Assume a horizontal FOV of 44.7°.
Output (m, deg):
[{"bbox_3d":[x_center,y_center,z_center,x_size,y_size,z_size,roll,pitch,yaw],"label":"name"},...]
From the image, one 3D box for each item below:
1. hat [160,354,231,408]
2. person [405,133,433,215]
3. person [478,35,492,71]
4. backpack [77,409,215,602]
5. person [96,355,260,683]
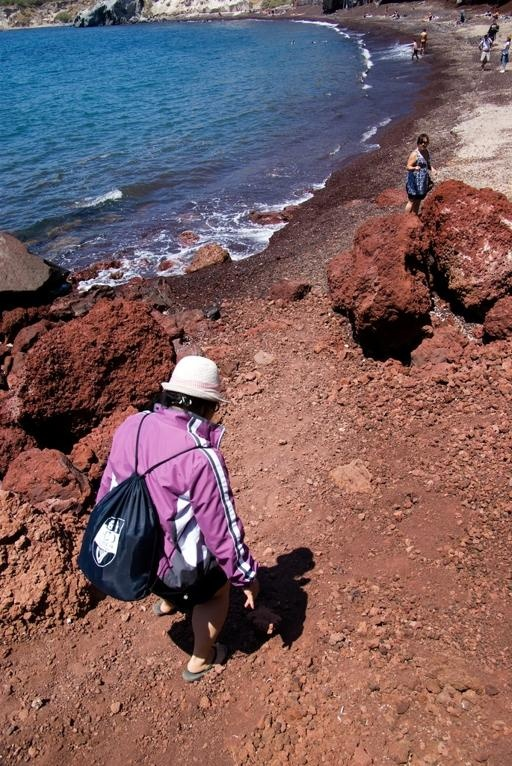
[{"bbox_3d":[-0.261,-0.018,2.829,0.194,0.236,0.129,18,78,12],"label":"hat"},{"bbox_3d":[2.118,-2.688,8.069,0.301,1.089,1.162,3,30,13],"label":"person"},{"bbox_3d":[8.512,-12.251,23.109,0.347,1.068,2.114,5,31,17],"label":"person"},{"bbox_3d":[-0.557,0.598,2.782,0.469,0.645,0.311,-26,36,-33],"label":"backpack"},{"bbox_3d":[-0.337,0.660,3.087,0.957,1.504,0.686,22,25,40],"label":"person"}]
